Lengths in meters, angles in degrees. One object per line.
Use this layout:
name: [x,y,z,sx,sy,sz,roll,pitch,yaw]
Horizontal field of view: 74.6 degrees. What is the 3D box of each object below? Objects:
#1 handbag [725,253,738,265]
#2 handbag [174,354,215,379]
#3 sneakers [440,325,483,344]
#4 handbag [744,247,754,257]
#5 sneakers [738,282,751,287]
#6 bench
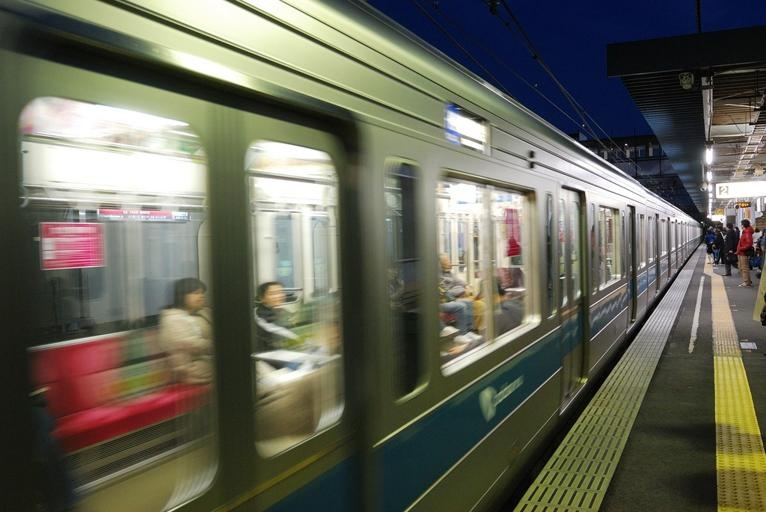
handbag: [15.860,0.118,23.095,0.503,0.637,0.359,12,-18,-23]
handbag: [-0.680,0.393,1.794,0.117,0.036,0.103,-1,1,-25]
sneakers: [0.475,0.497,3.299,0.150,0.066,0.239,-9,-11,35]
handbag: [12.762,-0.148,17.644,0.207,0.363,0.409,5,7,41]
sneakers: [12.863,1.025,18.097,0.555,0.196,0.180,2,1,15]
bench: [-0.873,0.482,1.640,0.176,0.392,0.466,6,2,27]
